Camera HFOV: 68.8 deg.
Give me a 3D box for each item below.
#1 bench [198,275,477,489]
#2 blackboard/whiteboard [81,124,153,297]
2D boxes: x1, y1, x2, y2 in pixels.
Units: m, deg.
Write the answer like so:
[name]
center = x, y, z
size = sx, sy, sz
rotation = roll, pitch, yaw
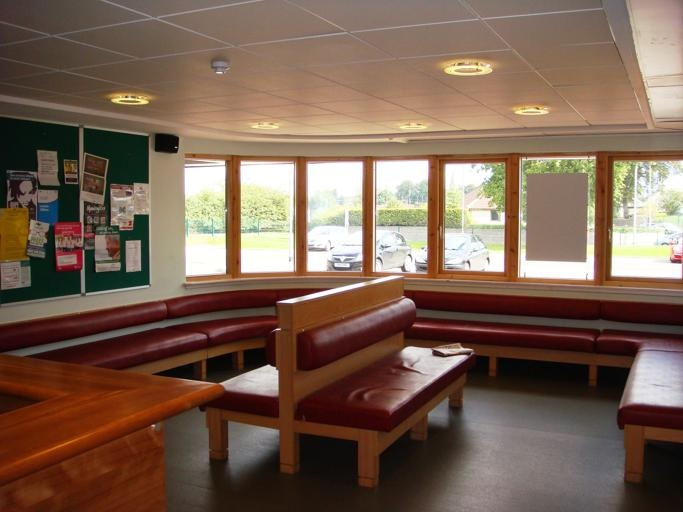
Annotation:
[bench]
center = 0.041, 0.982, 4.542
size = 1.584, 1.348, 1.839
rotation = 2, 5, 28
[blackboard/whiteboard]
center = -2.734, -0.543, 6.124
size = 0.068, 1.941, 0.956
rotation = 2, 6, 30
